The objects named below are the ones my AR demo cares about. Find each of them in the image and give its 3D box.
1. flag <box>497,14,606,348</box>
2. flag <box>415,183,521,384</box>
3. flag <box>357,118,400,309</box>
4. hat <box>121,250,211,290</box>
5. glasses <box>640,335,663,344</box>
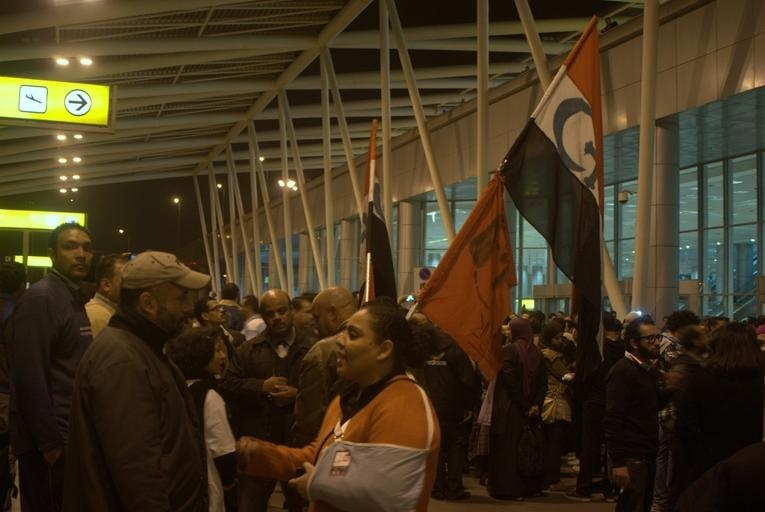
[{"bbox_3d":[1.977,-0.884,8.314,1.267,3.555,0.625,5,-7,-36],"label":"flag"},{"bbox_3d":[0.977,0.146,8.010,0.940,2.313,0.213,19,-28,-6],"label":"flag"},{"bbox_3d":[-0.092,-0.557,9.688,0.441,2.464,0.326,-2,-19,6],"label":"flag"},{"bbox_3d":[-1.908,0.176,6.834,0.834,0.335,0.544,-3,-11,-19],"label":"hat"},{"bbox_3d":[3.226,0.980,9.391,0.272,0.117,0.113,5,-7,-29],"label":"glasses"}]
